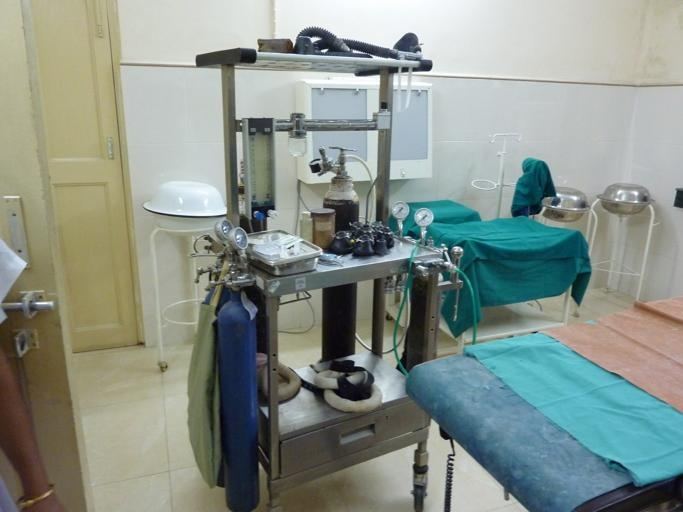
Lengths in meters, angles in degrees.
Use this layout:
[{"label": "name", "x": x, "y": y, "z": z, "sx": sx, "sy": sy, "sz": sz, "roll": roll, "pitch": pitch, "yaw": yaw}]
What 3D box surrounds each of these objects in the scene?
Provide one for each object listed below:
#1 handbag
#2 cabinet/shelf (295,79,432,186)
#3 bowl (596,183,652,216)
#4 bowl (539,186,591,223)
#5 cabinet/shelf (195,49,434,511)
[{"label": "handbag", "x": -0.577, "y": 0.542, "z": 2.366, "sx": 0.197, "sy": 0.954, "sz": 0.252, "roll": -5, "pitch": 18, "yaw": -13}, {"label": "cabinet/shelf", "x": 0.105, "y": -0.787, "z": 3.402, "sx": 0.889, "sy": 0.629, "sz": 0.332, "roll": -5, "pitch": 15, "yaw": -24}, {"label": "bowl", "x": 2.281, "y": -0.453, "z": 4.497, "sx": 0.311, "sy": 0.167, "sz": 0.306, "roll": -6, "pitch": 18, "yaw": 2}, {"label": "bowl", "x": 1.723, "y": -0.386, "z": 4.233, "sx": 0.300, "sy": 0.153, "sz": 0.295, "roll": -1, "pitch": 16, "yaw": 0}, {"label": "cabinet/shelf", "x": -0.069, "y": 0.138, "z": 2.611, "sx": 0.958, "sy": 2.098, "sz": 0.858, "roll": -6, "pitch": 18, "yaw": -16}]
